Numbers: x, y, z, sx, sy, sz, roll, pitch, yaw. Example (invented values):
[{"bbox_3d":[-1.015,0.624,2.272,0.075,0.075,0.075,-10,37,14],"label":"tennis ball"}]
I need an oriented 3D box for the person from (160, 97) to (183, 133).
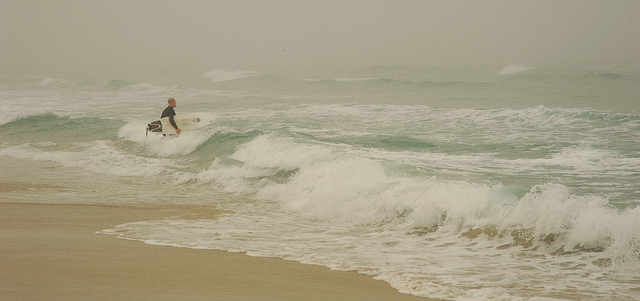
[{"bbox_3d":[-10.029,-2.372,60.621,1.263,2.373,1.165,3,12,-17],"label":"person"}]

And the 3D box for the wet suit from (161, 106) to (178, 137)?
[{"bbox_3d":[-10.087,-1.976,60.676,0.764,2.062,1.208,-4,15,-42],"label":"wet suit"}]
